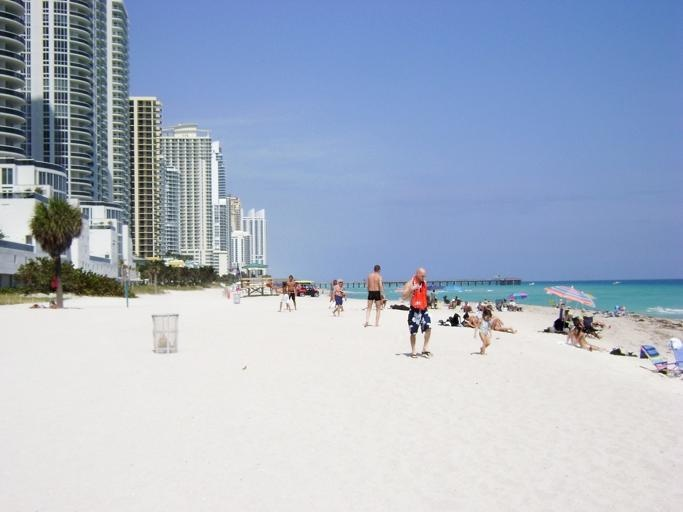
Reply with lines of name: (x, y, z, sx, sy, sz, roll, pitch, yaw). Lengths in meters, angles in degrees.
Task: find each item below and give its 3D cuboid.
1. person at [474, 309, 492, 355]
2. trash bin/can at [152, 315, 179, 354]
person: (3.782, 1.953, 20.429, 0.354, 1.332, 1.543, 4, 11, 10)
trash bin/can: (-4.400, 1.941, 19.333, 0.864, 1.237, 0.902, 1, -4, -8)
